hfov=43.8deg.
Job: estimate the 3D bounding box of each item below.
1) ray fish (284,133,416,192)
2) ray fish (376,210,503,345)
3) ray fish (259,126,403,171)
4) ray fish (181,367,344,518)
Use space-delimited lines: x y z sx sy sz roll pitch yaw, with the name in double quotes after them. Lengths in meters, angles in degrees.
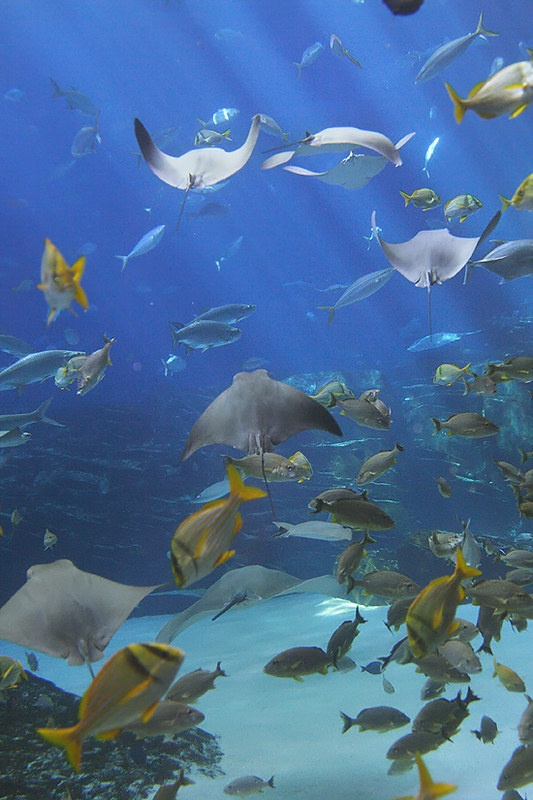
0.893 -2.417 6.498 0.820 0.122 0.477 11 -10 -16 "ray fish"
1.666 -1.421 6.694 0.892 1.052 0.339 -5 0 17 "ray fish"
0.650 -2.331 6.016 0.699 0.203 0.768 -11 4 -25 "ray fish"
-0.058 0.320 5.642 1.420 1.299 0.311 -16 -35 -3 "ray fish"
